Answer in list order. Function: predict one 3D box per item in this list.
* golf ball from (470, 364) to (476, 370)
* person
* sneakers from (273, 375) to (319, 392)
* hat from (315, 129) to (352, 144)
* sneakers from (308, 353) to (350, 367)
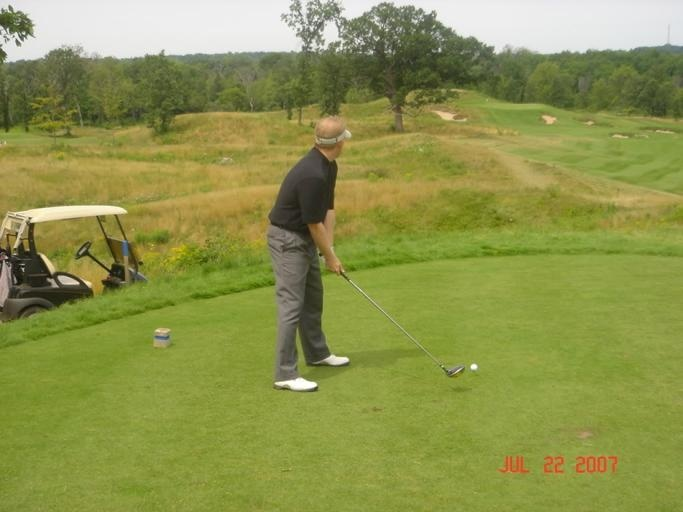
[{"bbox_3d":[1.249,1.052,6.992,0.045,0.027,0.046,-3,0,0],"label":"golf ball"},{"bbox_3d":[-0.360,-0.060,6.961,0.624,2.458,1.034,7,14,38],"label":"person"},{"bbox_3d":[-0.419,1.167,6.815,0.370,0.149,0.142,-1,4,9],"label":"sneakers"},{"bbox_3d":[-0.064,-1.098,6.870,0.238,0.050,0.179,-18,29,-30],"label":"hat"},{"bbox_3d":[-0.137,1.017,7.251,0.370,0.131,0.142,-2,0,4],"label":"sneakers"}]
